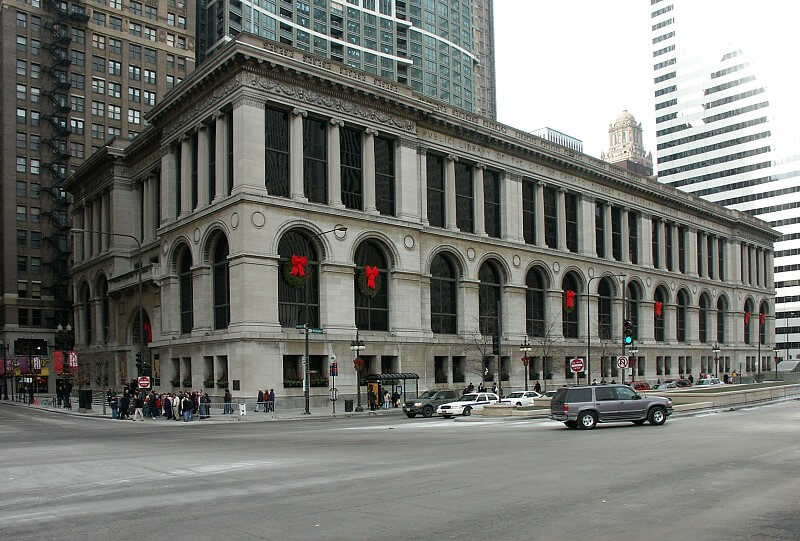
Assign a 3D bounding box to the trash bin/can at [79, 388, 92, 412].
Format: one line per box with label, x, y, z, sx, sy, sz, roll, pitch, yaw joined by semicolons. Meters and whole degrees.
trash bin/can;-34.278;14.064;113.229;1.044;2.356;1.596;2;12;17
